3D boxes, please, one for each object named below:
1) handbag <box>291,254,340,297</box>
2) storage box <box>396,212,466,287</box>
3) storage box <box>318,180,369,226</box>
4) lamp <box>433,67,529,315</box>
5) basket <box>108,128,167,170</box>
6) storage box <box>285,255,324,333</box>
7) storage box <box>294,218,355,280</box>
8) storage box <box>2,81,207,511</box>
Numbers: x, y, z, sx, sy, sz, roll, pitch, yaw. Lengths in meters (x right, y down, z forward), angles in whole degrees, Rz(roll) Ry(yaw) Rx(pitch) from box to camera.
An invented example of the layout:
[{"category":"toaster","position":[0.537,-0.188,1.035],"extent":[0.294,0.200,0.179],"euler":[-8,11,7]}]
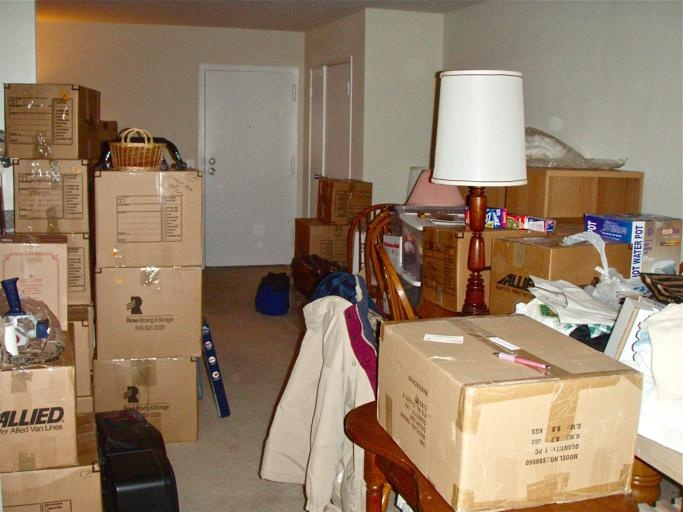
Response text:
[{"category":"handbag","position":[-0.237,0.164,4.333],"extent":[0.241,0.141,0.396],"euler":[1,6,-15]},{"category":"storage box","position":[0.437,-0.072,2.742],"extent":[0.321,0.389,0.395],"euler":[-4,8,-26]},{"category":"storage box","position":[0.012,-0.466,4.971],"extent":[0.403,0.409,0.385],"euler":[-1,11,-28]},{"category":"lamp","position":[0.511,-0.217,2.124],"extent":[0.325,0.928,0.260],"euler":[7,16,26]},{"category":"basket","position":[-1.058,-0.514,2.806],"extent":[0.314,0.233,0.273],"euler":[2,11,7]},{"category":"storage box","position":[-0.254,0.245,3.728],"extent":[0.309,0.521,0.534],"euler":[-1,9,-14]},{"category":"storage box","position":[-0.186,-0.078,4.946],"extent":[0.428,0.445,0.423],"euler":[-1,5,-31]},{"category":"storage box","position":[-1.147,0.045,2.882],"extent":[0.908,1.783,0.585],"euler":[6,15,22]}]
